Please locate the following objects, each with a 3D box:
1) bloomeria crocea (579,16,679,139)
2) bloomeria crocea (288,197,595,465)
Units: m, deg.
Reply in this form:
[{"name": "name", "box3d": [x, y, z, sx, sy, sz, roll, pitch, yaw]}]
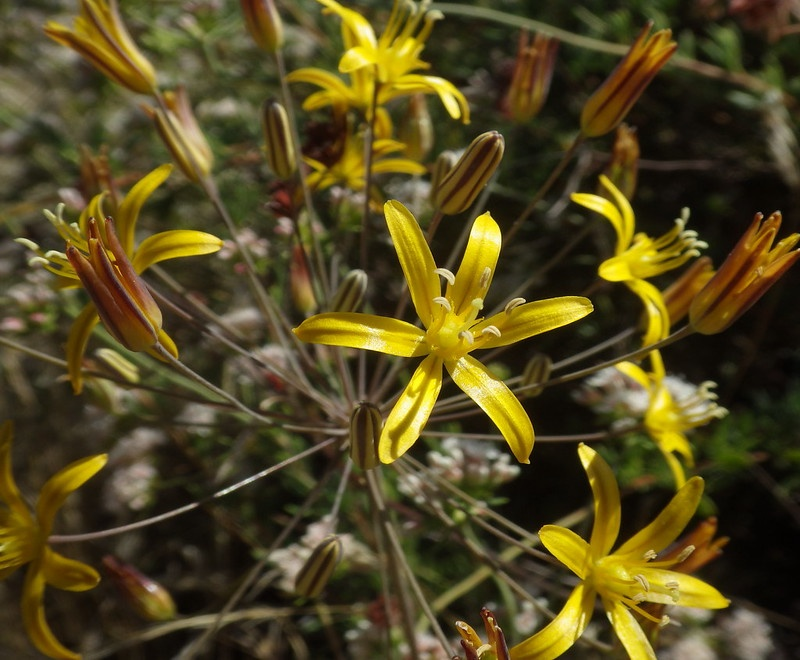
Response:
[{"name": "bloomeria crocea", "box3d": [0.486, -0.534, 1.728, 0.101, 0.233, 0.208, 30, 65, 7]}, {"name": "bloomeria crocea", "box3d": [0.084, 0.022, 1.779, 0.586, 0.207, 0.563, 45, 83, 1]}]
